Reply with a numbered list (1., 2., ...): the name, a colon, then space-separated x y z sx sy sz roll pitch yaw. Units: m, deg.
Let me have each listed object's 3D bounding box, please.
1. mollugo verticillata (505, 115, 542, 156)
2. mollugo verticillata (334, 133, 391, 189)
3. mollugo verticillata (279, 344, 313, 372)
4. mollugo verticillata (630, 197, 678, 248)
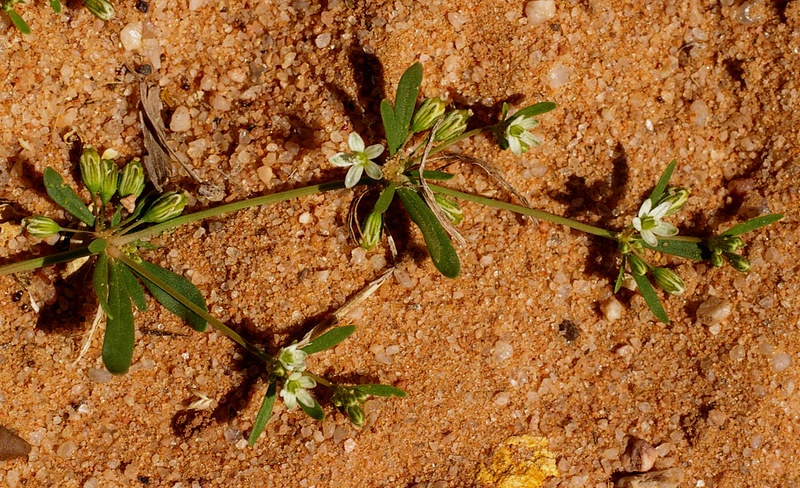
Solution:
1. mollugo verticillata: 0.668 -0.584 4.410 0.211 0.324 0.178 -21 87 0
2. mollugo verticillata: -0.215 -0.440 4.238 0.276 0.190 0.254 -12 88 0
3. mollugo verticillata: -0.550 0.598 4.262 0.152 0.156 0.130 41 89 2
4. mollugo verticillata: 1.348 -0.111 4.301 0.217 0.146 0.244 -5 88 0
